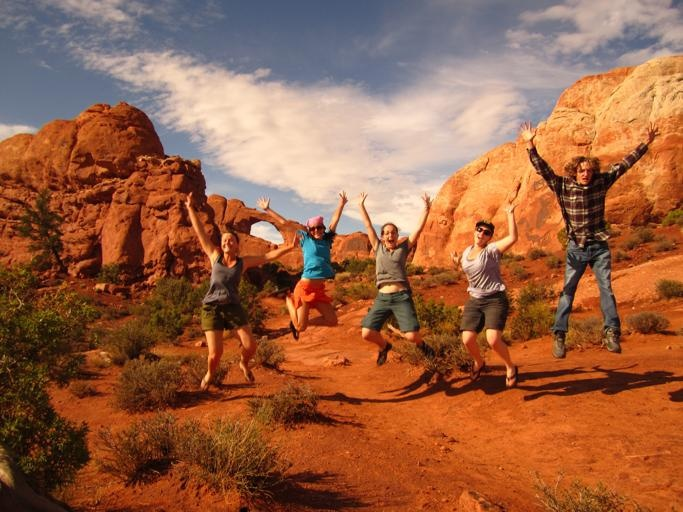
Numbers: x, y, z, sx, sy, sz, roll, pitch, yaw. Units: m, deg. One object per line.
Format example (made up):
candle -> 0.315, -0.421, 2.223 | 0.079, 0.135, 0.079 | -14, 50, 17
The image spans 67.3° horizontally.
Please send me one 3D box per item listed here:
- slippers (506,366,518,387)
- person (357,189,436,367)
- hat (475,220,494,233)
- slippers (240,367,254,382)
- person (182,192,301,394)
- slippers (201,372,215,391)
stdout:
slippers -> 2.802, 1.952, 8.421 | 0.171, 0.427, 0.104 | 6, 6, 38
person -> 0.946, 0.584, 9.258 | 1.163, 3.164, 0.820 | -1, 9, 10
hat -> 2.279, -0.523, 8.210 | 0.193, 0.119, 0.263 | 21, 23, -13
slippers -> -1.763, 2.179, 9.502 | 0.126, 0.337, 0.114 | -13, 24, 22
person -> -1.787, 0.772, 8.742 | 1.427, 3.176, 1.013 | -5, 9, -18
slippers -> -2.349, 2.195, 9.056 | 0.217, 0.154, 0.390 | -11, 1, 1
